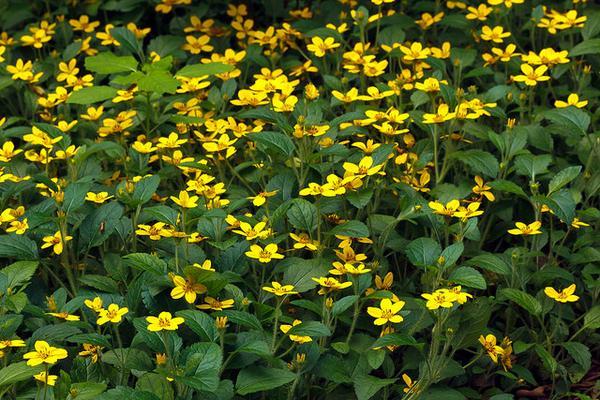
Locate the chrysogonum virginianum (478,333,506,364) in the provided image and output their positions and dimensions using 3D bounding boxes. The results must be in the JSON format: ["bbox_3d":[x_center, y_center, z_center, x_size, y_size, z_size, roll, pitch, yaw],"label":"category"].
[{"bbox_3d":[1.158,0.904,3.844,0.175,0.067,0.201,26,23,1],"label":"chrysogonum virginianum"}]

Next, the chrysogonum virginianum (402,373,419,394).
[{"bbox_3d":[0.651,1.086,3.696,0.108,0.039,0.108,-14,49,0],"label":"chrysogonum virginianum"}]
